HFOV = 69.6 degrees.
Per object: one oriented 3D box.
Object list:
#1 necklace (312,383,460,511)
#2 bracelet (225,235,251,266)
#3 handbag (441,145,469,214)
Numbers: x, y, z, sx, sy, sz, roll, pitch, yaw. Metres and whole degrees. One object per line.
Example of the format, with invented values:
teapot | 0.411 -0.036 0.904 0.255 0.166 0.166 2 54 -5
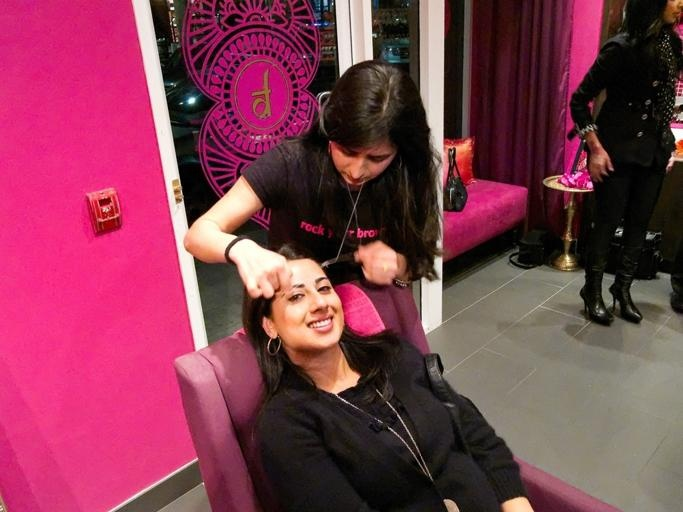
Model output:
necklace | 0.115 0.593 1.623 0.190 0.098 0.665 -11 58 -47
bracelet | -0.317 -0.028 1.421 0.068 0.081 0.019 -2 21 -30
handbag | 0.852 -0.583 3.723 0.176 0.580 0.460 1 32 22
